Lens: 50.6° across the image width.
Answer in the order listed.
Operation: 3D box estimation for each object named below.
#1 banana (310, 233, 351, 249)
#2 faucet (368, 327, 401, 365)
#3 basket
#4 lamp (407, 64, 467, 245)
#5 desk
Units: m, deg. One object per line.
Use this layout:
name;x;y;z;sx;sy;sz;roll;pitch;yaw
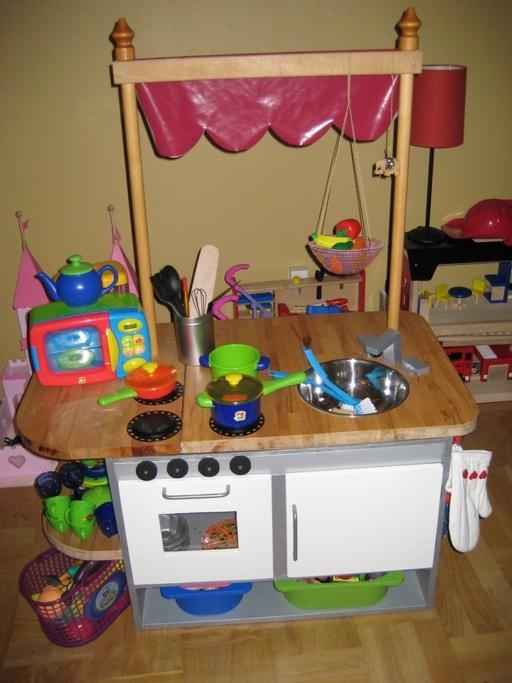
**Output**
banana;0.189;-0.247;1.389;0.089;0.024;0.050;10;33;16
faucet;0.350;0.015;1.470;0.041;0.081;0.086;27;51;36
basket;-0.473;0.678;1.536;0.309;0.193;0.205;-11;37;-13
lamp;0.690;-0.712;2.103;0.187;0.654;0.263;8;26;18
desk;-0.007;0.380;1.543;1.113;0.673;0.577;-3;28;-6
